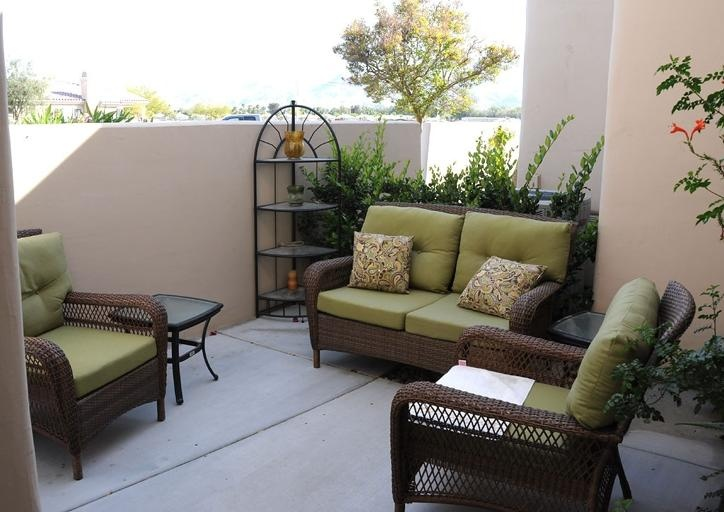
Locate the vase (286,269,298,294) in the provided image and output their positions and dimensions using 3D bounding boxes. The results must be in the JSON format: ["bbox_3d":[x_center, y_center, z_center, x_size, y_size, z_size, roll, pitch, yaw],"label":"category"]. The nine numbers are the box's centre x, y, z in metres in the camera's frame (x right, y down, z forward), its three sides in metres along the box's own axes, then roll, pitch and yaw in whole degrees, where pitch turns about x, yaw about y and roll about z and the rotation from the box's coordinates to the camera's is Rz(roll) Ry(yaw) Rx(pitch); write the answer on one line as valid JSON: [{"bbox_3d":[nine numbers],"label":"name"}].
[{"bbox_3d":[-0.655,0.221,4.946,0.073,0.191,0.145,-1,13,-15],"label":"vase"}]

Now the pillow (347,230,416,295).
[{"bbox_3d":[0.153,0.060,3.900,0.405,0.370,0.162,7,10,22],"label":"pillow"}]

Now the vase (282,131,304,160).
[{"bbox_3d":[-0.608,-0.989,4.800,0.214,0.248,0.216,4,6,32],"label":"vase"}]

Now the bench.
[{"bbox_3d":[0.513,0.279,3.772,1.703,1.144,0.968,9,12,34],"label":"bench"}]

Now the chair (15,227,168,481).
[{"bbox_3d":[-1.636,0.457,2.902,0.923,1.070,0.856,4,15,2],"label":"chair"}]

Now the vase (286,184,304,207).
[{"bbox_3d":[-0.605,-0.547,4.806,0.140,0.177,0.142,0,12,-11],"label":"vase"}]
